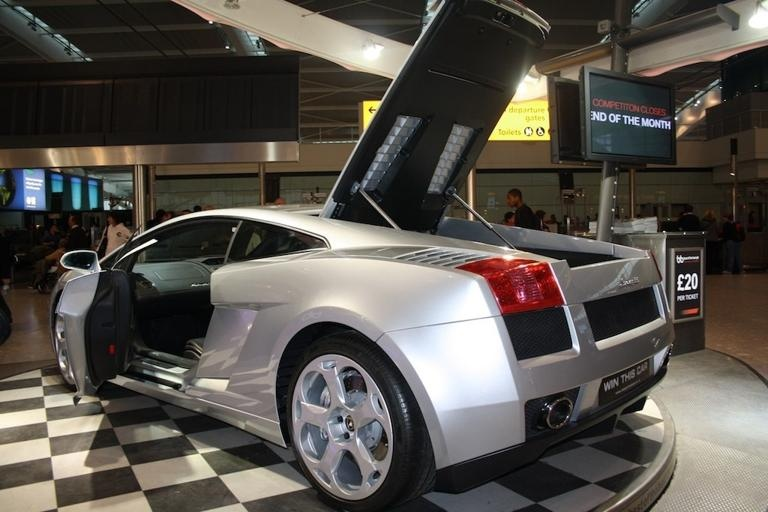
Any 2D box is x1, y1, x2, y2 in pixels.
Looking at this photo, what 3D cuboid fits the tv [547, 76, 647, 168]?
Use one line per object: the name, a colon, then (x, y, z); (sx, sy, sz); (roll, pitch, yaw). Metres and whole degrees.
tv: (2.210, -1.393, 5.163); (0.940, 1.257, 0.129); (-2, 5, -9)
